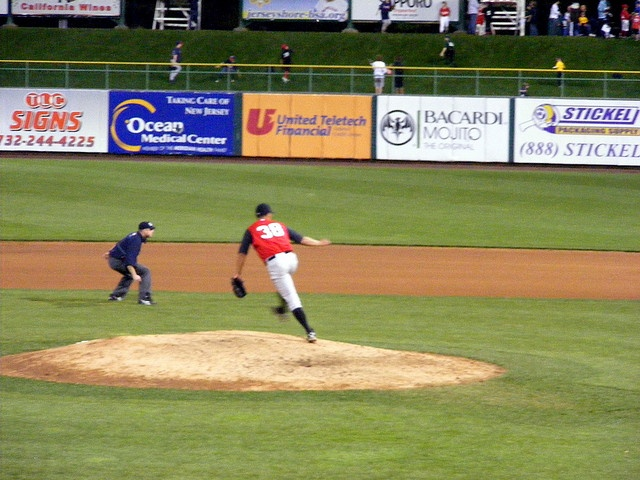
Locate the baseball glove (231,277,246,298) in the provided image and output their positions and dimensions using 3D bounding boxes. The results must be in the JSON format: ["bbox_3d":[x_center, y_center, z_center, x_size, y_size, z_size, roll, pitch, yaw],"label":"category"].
[{"bbox_3d":[-2.365,1.326,42.413,0.481,0.541,0.236,-13,23,9],"label":"baseball glove"}]

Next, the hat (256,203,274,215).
[{"bbox_3d":[-1.592,-0.922,42.502,0.373,0.218,0.469,9,14,30],"label":"hat"}]

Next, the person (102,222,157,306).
[{"bbox_3d":[-5.778,0.697,45.529,1.333,2.556,1.605,-5,8,-37],"label":"person"}]

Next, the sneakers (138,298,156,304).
[{"bbox_3d":[-5.359,1.902,45.419,0.496,0.164,0.147,9,-33,12],"label":"sneakers"}]

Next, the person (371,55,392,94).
[{"bbox_3d":[2.762,-7.684,67.556,0.885,1.733,0.955,1,7,7],"label":"person"}]

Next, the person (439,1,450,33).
[{"bbox_3d":[6.656,-12.003,78.697,0.555,1.704,1.090,1,7,3],"label":"person"}]

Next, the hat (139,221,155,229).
[{"bbox_3d":[-5.368,-0.462,45.407,0.396,0.151,0.246,-8,17,-8],"label":"hat"}]

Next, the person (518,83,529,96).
[{"bbox_3d":[9.221,-6.862,66.417,0.425,0.604,0.761,1,6,8],"label":"person"}]
